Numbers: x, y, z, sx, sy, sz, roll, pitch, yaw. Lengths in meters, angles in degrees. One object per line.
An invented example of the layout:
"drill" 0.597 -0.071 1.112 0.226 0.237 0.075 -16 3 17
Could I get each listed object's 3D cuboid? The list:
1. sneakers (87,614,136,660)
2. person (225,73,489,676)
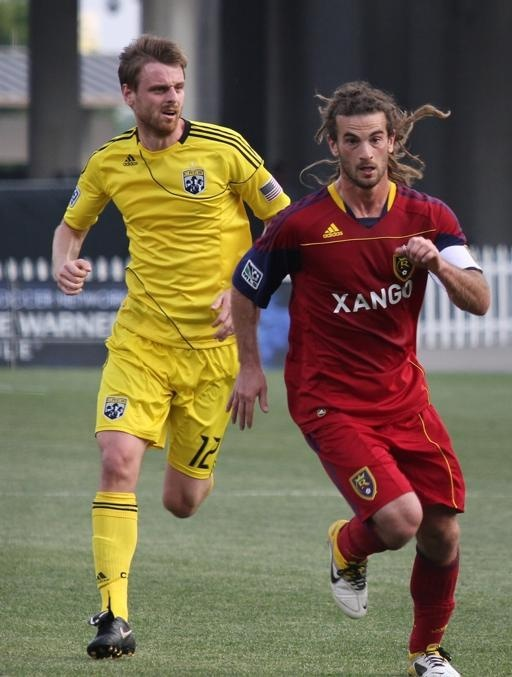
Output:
"sneakers" -0.497 0.998 4.131 0.164 0.133 0.163 3 9 10
"person" 0.439 0.116 4.198 0.570 1.948 0.970 -6 12 -38
